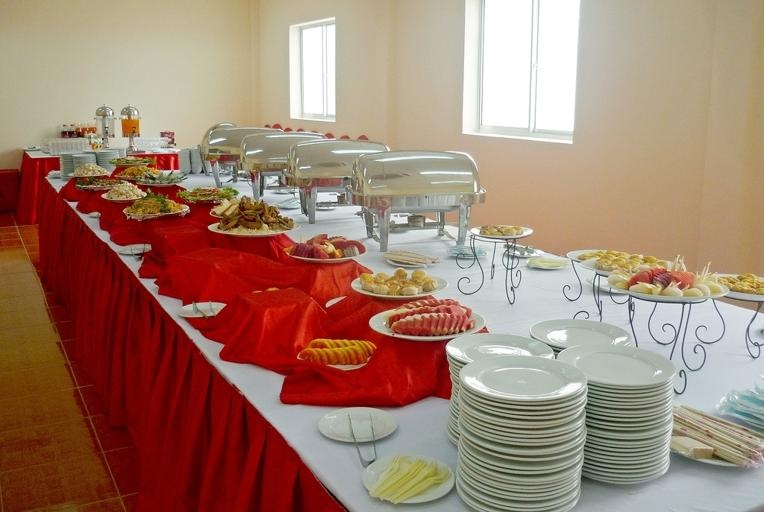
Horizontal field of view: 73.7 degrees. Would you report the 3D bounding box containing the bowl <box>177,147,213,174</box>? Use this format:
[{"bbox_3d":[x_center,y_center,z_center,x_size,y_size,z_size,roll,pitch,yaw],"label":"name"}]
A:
[{"bbox_3d":[-1.685,-0.860,4.634,0.332,0.280,0.318,1,18,0],"label":"bowl"}]
